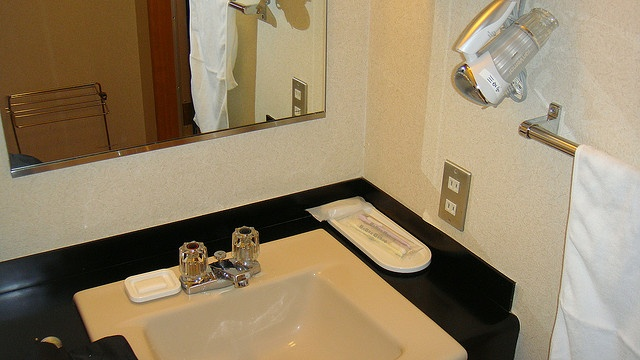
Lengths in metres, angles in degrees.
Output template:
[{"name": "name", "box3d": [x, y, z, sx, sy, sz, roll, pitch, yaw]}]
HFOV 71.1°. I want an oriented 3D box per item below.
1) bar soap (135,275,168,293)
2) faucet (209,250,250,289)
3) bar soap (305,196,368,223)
[{"name": "bar soap", "box3d": [-0.557, 0.358, 1.482, 0.081, 0.018, 0.040, -10, 39, -26]}, {"name": "faucet", "box3d": [-0.320, 0.303, 1.547, 0.154, 0.059, 0.084, 39, 48, 24]}, {"name": "bar soap", "box3d": [0.066, 0.116, 1.754, 0.208, 0.035, 0.084, -10, 44, -15]}]
